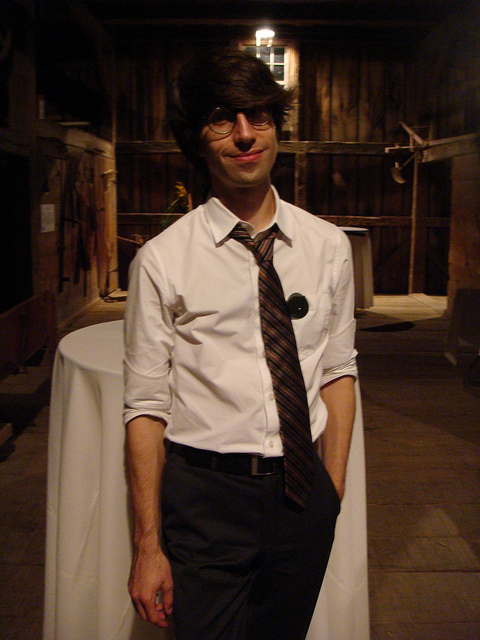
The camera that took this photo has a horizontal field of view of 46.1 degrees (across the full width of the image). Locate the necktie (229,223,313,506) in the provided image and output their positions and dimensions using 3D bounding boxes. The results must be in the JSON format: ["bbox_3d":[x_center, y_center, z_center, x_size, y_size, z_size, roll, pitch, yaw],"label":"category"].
[{"bbox_3d":[0.088,0.091,1.209,0.117,0.577,0.034,-6,-2,-8],"label":"necktie"}]
